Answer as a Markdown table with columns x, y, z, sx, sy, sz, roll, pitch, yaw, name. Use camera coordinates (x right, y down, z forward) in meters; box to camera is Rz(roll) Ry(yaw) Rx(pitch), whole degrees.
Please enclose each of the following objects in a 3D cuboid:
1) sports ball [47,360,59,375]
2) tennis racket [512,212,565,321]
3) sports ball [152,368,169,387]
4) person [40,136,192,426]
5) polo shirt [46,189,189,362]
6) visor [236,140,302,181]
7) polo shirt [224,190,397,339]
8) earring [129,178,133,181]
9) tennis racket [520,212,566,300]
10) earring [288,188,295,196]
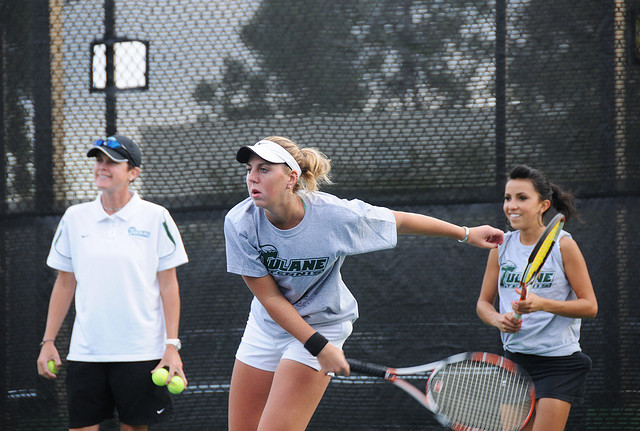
| x | y | z | sx | sy | sz | roll | pitch | yaw | name |
| --- | --- | --- | --- | --- | --- | --- | --- | --- | --- |
| -1.767 | 0.999 | 7.085 | 0.079 | 0.078 | 0.094 | -20 | -28 | -1 | sports ball |
| 1.378 | 0.313 | 6.802 | 0.035 | 0.579 | 0.214 | 29 | 0 | -15 | tennis racket |
| -1.032 | 1.060 | 6.946 | 0.095 | 0.132 | 0.100 | 4 | 6 | 0 | sports ball |
| -1.344 | 0.427 | 7.024 | 0.936 | 1.884 | 0.492 | 3 | 7 | -11 | person |
| -1.353 | 0.408 | 7.149 | 0.978 | 1.146 | 0.418 | -1 | 2 | 8 | polo shirt |
| -0.312 | -0.353 | 6.641 | 0.408 | 0.234 | 0.182 | 4 | 6 | -1 | visor |
| -0.072 | 0.278 | 6.812 | 1.085 | 0.893 | 0.234 | 3 | 7 | -5 | polo shirt |
| -1.265 | -0.243 | 7.146 | 0.017 | 0.019 | 0.037 | 3 | 6 | -3 | earring |
| 1.424 | 0.254 | 6.821 | 0.301 | 0.538 | 0.123 | 0 | 8 | -31 | tennis racket |
| -0.180 | -0.149 | 6.656 | 0.037 | 0.009 | 0.038 | 48 | -7 | 1 | earring |
